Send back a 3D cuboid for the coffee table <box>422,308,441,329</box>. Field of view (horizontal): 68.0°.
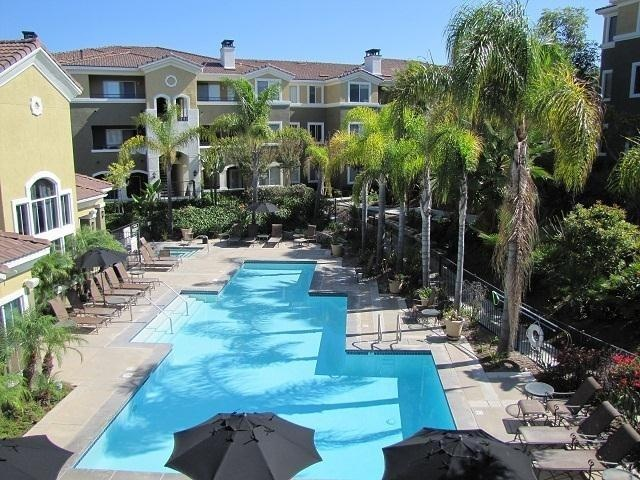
[{"bbox_3d":[3.953,2.772,16.999,0.573,0.421,0.608,0,7,2],"label":"coffee table"}]

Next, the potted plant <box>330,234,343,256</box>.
[{"bbox_3d":[1.056,0.334,27.453,0.821,1.471,0.949,2,5,37],"label":"potted plant"}]

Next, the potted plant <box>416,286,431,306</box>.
[{"bbox_3d":[3.893,2.114,18.028,0.532,0.604,0.567,1,2,3],"label":"potted plant"}]

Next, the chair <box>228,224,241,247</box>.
[{"bbox_3d":[-5.338,-0.323,29.753,0.765,1.107,1.455,1,13,-5],"label":"chair"}]

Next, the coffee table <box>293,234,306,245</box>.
[{"bbox_3d":[-1.298,-0.050,30.147,0.459,0.728,0.823,1,1,10],"label":"coffee table"}]

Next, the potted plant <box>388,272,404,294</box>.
[{"bbox_3d":[3.187,1.831,20.061,0.650,0.573,0.703,1,4,-6],"label":"potted plant"}]

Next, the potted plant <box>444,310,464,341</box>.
[{"bbox_3d":[4.421,2.760,15.754,0.637,0.956,0.684,11,-6,-35],"label":"potted plant"}]

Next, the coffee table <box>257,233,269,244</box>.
[{"bbox_3d":[-3.725,-0.126,30.856,0.578,0.400,0.612,-1,6,-5],"label":"coffee table"}]

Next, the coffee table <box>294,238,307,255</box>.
[{"bbox_3d":[-1.247,0.275,29.346,0.702,0.648,0.795,11,14,44],"label":"coffee table"}]

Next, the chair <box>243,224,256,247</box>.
[{"bbox_3d":[-4.365,-0.388,29.960,0.750,1.079,1.835,1,13,-6],"label":"chair"}]

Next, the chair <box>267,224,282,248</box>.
[{"bbox_3d":[-2.856,-0.227,29.920,0.554,0.916,1.659,1,15,6],"label":"chair"}]

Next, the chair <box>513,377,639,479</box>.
[{"bbox_3d":[5.082,4.043,9.440,1.469,1.176,2.112,-6,4,12],"label":"chair"}]

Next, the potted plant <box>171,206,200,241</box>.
[{"bbox_3d":[-8.707,-1.150,31.055,1.657,2.445,2.158,-4,9,-23],"label":"potted plant"}]

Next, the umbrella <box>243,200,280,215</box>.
[{"bbox_3d":[-3.181,-1.951,28.322,1.247,0.471,1.245,-9,13,-39],"label":"umbrella"}]
